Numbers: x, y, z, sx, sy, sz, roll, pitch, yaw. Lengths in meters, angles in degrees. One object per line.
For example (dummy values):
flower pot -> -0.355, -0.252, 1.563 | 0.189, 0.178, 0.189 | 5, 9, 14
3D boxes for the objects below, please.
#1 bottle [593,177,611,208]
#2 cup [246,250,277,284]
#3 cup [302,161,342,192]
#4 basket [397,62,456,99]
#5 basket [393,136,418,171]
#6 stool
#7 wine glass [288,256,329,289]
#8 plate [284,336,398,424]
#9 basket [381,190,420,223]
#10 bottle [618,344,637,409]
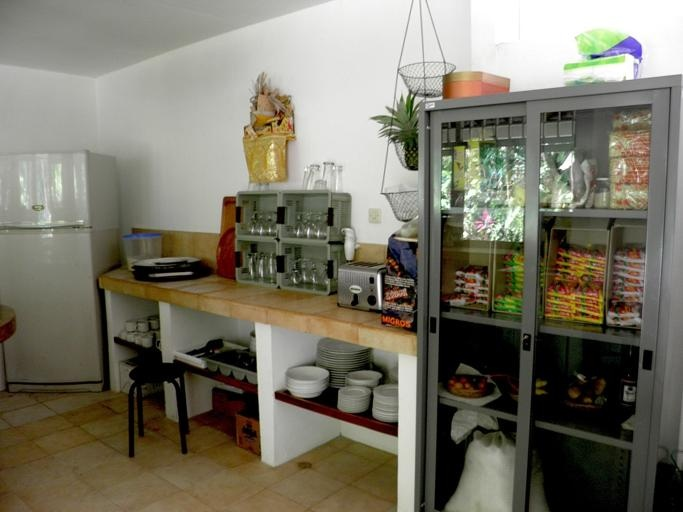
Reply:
bottle -> 1.246, -0.305, 2.573 | 0.069, 0.142, 0.043 | 4, 12, 23
cup -> -0.643, 0.099, 4.500 | 0.289, 0.279, 0.157 | 3, 1, 9
cup -> -0.153, -0.626, 4.149 | 0.107, 0.213, 0.396 | -12, 16, -43
basket -> 0.516, -1.090, 3.349 | 0.337, 0.151, 0.341 | 2, 2, 25
basket -> 0.402, -0.633, 3.260 | 0.161, 0.172, 0.167 | 0, 3, -5
stool -> -1.337, 1.133, 3.963 | 0.488, 0.599, 0.499 | -1, 2, 19
wine glass -> -0.256, 0.141, 4.122 | 0.294, 0.184, 0.345 | -2, 12, -6
plate -> 0.055, 0.846, 3.725 | 0.588, 0.181, 0.442 | 7, 7, 27
basket -> 0.385, -0.323, 3.412 | 0.230, 0.173, 0.193 | -1, -1, 43
bottle -> 1.363, 0.575, 2.561 | 0.040, 0.301, 0.093 | -3, 12, -9
